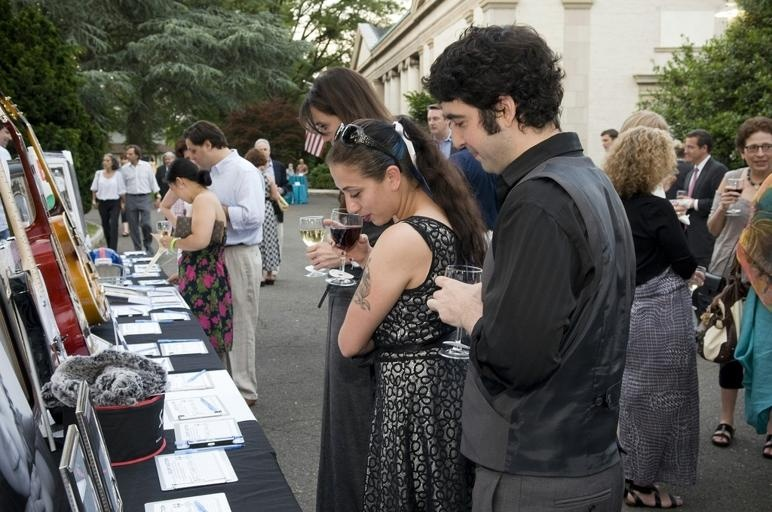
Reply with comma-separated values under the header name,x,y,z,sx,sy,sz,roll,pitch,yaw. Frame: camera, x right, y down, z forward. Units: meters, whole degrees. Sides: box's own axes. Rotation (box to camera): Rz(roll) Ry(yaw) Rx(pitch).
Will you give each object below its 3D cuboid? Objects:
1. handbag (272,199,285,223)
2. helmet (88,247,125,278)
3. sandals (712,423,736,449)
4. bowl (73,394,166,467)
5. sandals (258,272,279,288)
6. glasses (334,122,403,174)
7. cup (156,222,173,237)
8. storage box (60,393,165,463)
name,x,y,z,sx,sy,sz,roll,pitch,yaw
handbag,-1.717,-0.684,10.487,0.135,0.393,0.473,1,14,-3
helmet,-2.567,0.065,6.070,0.278,0.325,0.355,-12,3,-21
sandals,2.723,1.406,5.348,0.147,0.132,0.315,12,17,35
bowl,-1.137,0.756,2.923,0.320,0.255,0.325,-5,8,1
sandals,-1.764,0.351,9.881,0.206,0.251,0.616,0,-4,-10
glasses,-0.103,-0.492,3.174,0.244,0.069,0.190,28,-2,-28
cup,-1.897,-0.229,5.690,0.141,0.168,0.140,3,1,0
storage box,-1.177,0.735,2.867,0.327,0.248,0.327,-3,5,-6
